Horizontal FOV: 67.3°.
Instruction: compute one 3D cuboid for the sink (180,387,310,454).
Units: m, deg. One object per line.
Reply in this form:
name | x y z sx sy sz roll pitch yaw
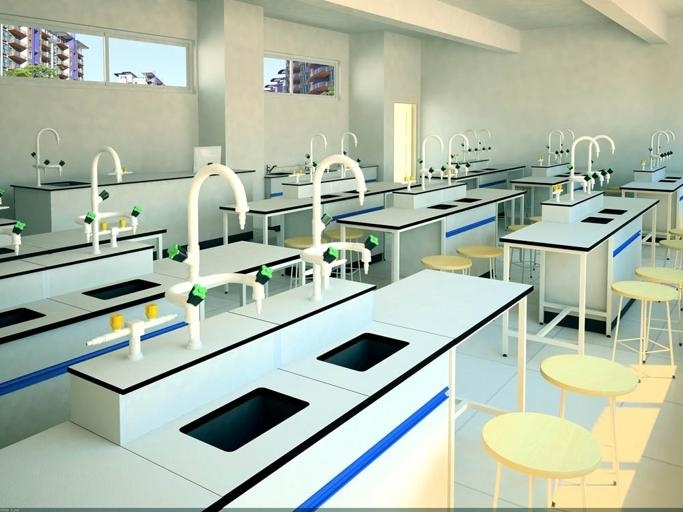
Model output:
sink | -0.277 0.536 1.636 0.200 0.143 0.341 6 15 34
